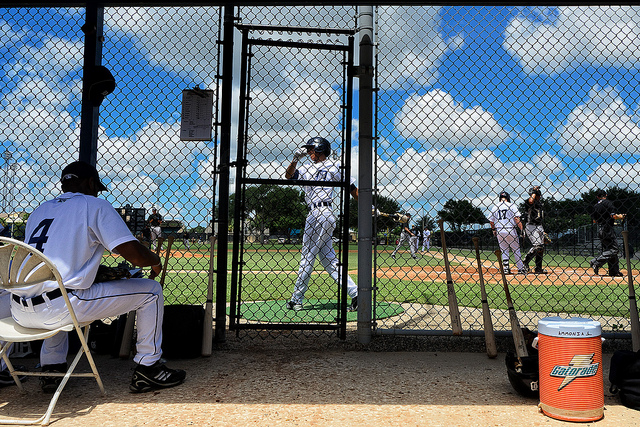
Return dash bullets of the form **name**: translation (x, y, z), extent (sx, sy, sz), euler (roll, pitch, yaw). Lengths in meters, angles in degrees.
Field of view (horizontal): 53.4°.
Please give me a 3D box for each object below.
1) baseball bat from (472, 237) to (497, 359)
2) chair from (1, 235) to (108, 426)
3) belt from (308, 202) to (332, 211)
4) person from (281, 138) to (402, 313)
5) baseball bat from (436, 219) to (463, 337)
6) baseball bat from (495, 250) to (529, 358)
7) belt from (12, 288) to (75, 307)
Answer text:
- **baseball bat**: translation (1.580, 0.830, 6.039), extent (0.139, 1.310, 0.129), euler (-3, 24, 25)
- **chair**: translation (-2.287, 0.812, 5.325), extent (0.793, 1.433, 1.297), euler (-3, 10, -19)
- **belt**: translation (-0.011, -0.081, 7.437), extent (0.291, 0.111, 0.097), euler (3, 10, 17)
- **person**: translation (0.054, 0.220, 7.108), extent (0.863, 2.078, 1.523), euler (0, 10, -3)
- **baseball bat**: translation (1.274, 0.618, 6.196), extent (0.105, 1.084, 0.102), euler (-5, -3, -43)
- **baseball bat**: translation (1.740, 0.829, 5.729), extent (0.123, 1.289, 0.104), euler (-7, 36, 23)
- **belt**: translation (-2.194, 0.665, 5.021), extent (0.223, 0.052, 0.231), euler (-16, 0, 14)
